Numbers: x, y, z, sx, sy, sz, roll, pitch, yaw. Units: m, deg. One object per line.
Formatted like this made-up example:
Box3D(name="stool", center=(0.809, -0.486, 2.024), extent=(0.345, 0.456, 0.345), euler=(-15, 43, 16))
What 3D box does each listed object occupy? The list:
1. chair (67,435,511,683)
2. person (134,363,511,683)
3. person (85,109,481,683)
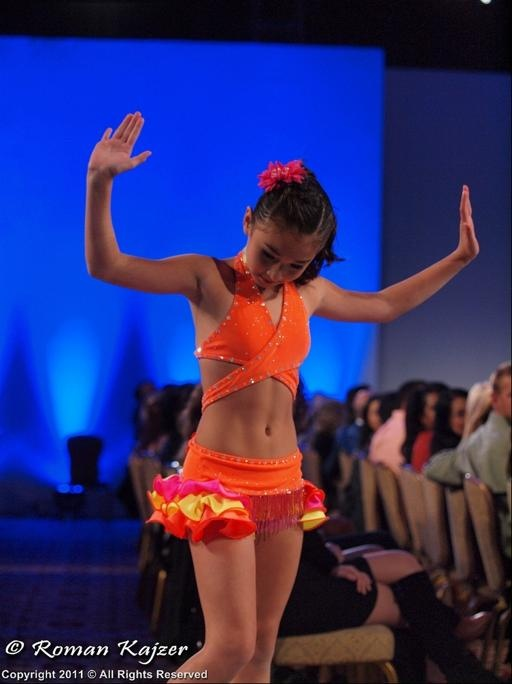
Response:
Box3D(name="chair", center=(0.066, 0.696, 2.527), extent=(0.890, 0.919, 0.717), euler=(-3, -8, -8))
Box3D(name="person", center=(0.158, 0.862, 2.927), extent=(1.171, 1.646, 0.657), euler=(2, -13, -5))
Box3D(name="person", center=(0.039, 0.152, 1.649), extent=(0.324, 1.322, 0.800), euler=(2, 5, 41))
